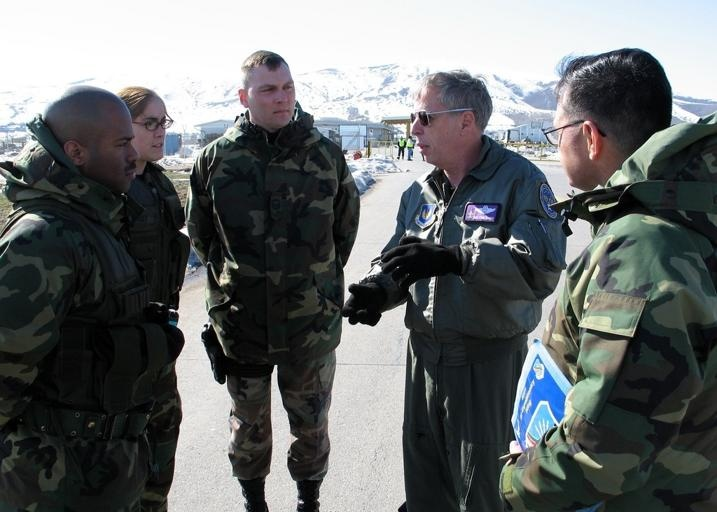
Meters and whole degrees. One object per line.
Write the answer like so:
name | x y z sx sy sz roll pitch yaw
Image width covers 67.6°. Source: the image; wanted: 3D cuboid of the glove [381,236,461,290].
glove | 0.288 0.037 2.487 0.286 0.225 0.136 -2 -33 10

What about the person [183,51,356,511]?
person | -0.530 0.129 3.258 1.029 2.688 0.835 2 12 -2

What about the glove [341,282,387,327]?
glove | 0.028 0.222 2.523 0.209 0.218 0.125 2 12 -3
